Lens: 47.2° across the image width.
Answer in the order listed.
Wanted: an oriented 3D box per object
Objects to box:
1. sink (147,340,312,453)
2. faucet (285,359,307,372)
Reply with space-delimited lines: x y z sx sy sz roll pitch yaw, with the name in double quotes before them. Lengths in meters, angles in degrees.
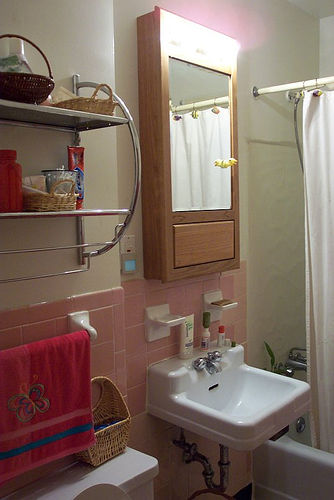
"sink" 0.261 0.533 1.462 0.414 0.203 0.546 0 -1 44
"faucet" 0.738 0.645 2.169 0.060 0.031 0.110 1 -2 -23
